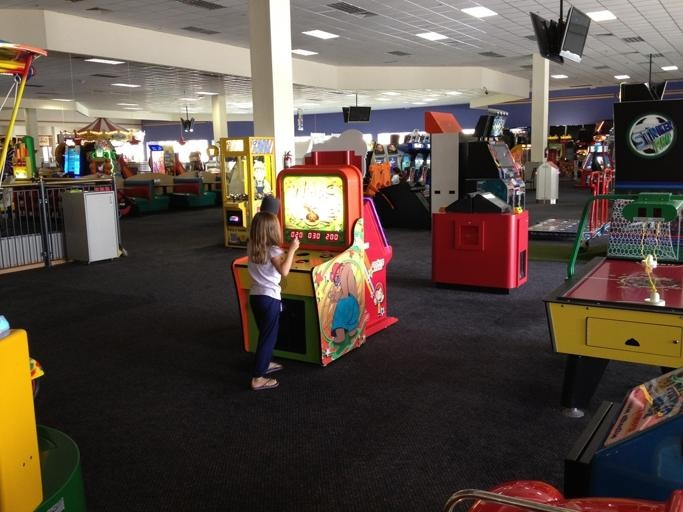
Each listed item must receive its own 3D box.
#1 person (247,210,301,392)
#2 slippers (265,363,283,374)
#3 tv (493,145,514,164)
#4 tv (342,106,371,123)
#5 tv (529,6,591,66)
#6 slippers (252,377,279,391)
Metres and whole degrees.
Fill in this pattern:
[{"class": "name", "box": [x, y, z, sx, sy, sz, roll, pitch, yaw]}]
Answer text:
[{"class": "person", "box": [-0.529, 0.362, 3.627, 0.407, 1.397, 0.175, -3, 12, -6]}, {"class": "slippers", "box": [-0.576, 0.966, 4.046, 0.157, 0.061, 0.066, -7, 15, -21]}, {"class": "tv", "box": [2.613, -1.668, 7.630, 0.457, 0.402, 0.107, -5, -14, -41]}, {"class": "tv", "box": [0.606, -5.738, 19.196, 1.041, 0.648, 1.059, 0, 17, -3]}, {"class": "tv", "box": [3.729, -3.776, 7.970, 0.428, 0.864, 1.547, 9, 16, 41]}, {"class": "slippers", "box": [-0.608, 1.020, 3.783, 0.214, 0.090, 0.093, -6, 13, -19]}]
